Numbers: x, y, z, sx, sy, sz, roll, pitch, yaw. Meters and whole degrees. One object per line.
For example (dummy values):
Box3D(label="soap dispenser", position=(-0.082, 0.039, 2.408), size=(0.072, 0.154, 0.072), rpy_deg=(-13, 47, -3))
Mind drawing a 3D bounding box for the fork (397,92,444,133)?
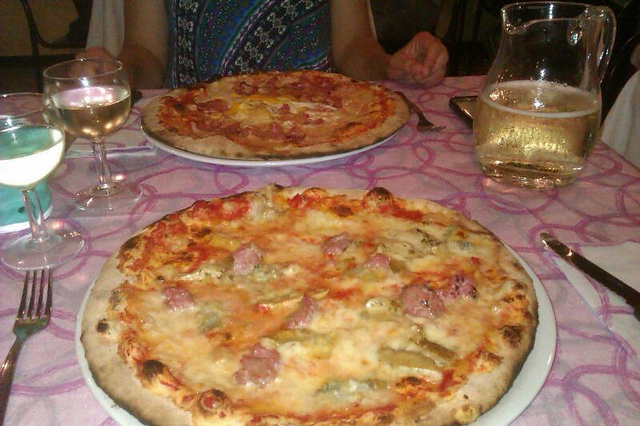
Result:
Box3D(label="fork", position=(0.346, -0.350, 1.862), size=(0.061, 0.040, 0.277), rpy_deg=(-14, 41, -10))
